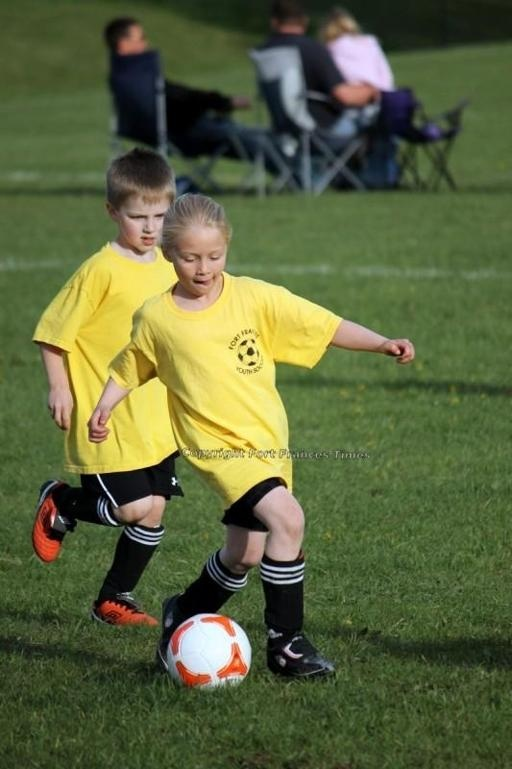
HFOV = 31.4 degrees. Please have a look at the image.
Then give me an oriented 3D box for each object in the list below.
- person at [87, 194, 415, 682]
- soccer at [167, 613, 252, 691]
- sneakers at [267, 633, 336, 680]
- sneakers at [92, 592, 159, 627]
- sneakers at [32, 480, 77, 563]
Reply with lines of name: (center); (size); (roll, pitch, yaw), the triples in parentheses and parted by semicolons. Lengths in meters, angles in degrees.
person: (-0.039, 0.135, 2.288); (0.741, 1.211, 0.301); (2, 13, 20)
soccer: (-0.114, 0.667, 2.312); (0.181, 0.160, 0.167); (11, 27, 14)
sneakers: (0.104, 0.682, 2.302); (0.183, 0.073, 0.092); (-3, -1, 41)
sneakers: (-0.416, 0.688, 2.785); (0.228, 0.093, 0.077); (2, -1, 7)
sneakers: (-0.677, 0.456, 2.996); (0.113, 0.297, 0.158); (-2, 10, -42)
